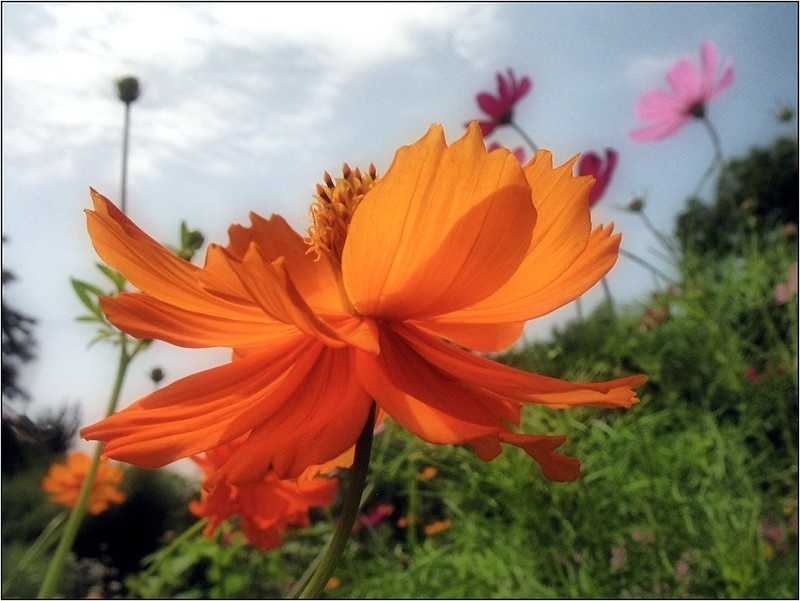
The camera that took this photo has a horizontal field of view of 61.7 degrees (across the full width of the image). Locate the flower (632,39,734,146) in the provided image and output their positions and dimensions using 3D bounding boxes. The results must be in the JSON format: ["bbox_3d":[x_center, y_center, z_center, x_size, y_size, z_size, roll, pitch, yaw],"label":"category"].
[{"bbox_3d":[0.643,-0.448,1.478,0.198,0.099,0.209,-38,-22,28],"label":"flower"}]

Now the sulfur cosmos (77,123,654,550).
[{"bbox_3d":[-0.041,-0.013,0.959,0.620,0.352,0.649,-13,5,-24],"label":"sulfur cosmos"}]
